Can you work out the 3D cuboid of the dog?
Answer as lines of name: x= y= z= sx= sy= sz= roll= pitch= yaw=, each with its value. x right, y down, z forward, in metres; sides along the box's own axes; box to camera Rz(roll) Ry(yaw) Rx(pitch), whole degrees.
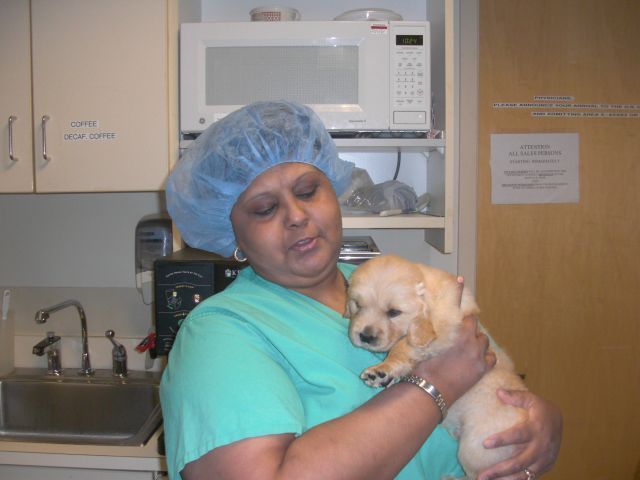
dog: x=0.365 y=0.377 z=2.111 sx=0.423 sy=0.788 sz=0.458 roll=-35 pitch=3 yaw=-10

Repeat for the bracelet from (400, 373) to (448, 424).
bracelet: x=0.306 y=0.449 z=1.734 sx=0.123 sy=0.032 sz=0.125 roll=42 pitch=3 yaw=-27

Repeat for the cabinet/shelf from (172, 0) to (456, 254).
cabinet/shelf: x=-0.031 y=-0.453 z=2.363 sx=1.157 sy=1.143 sz=0.680 roll=0 pitch=-1 yaw=3
